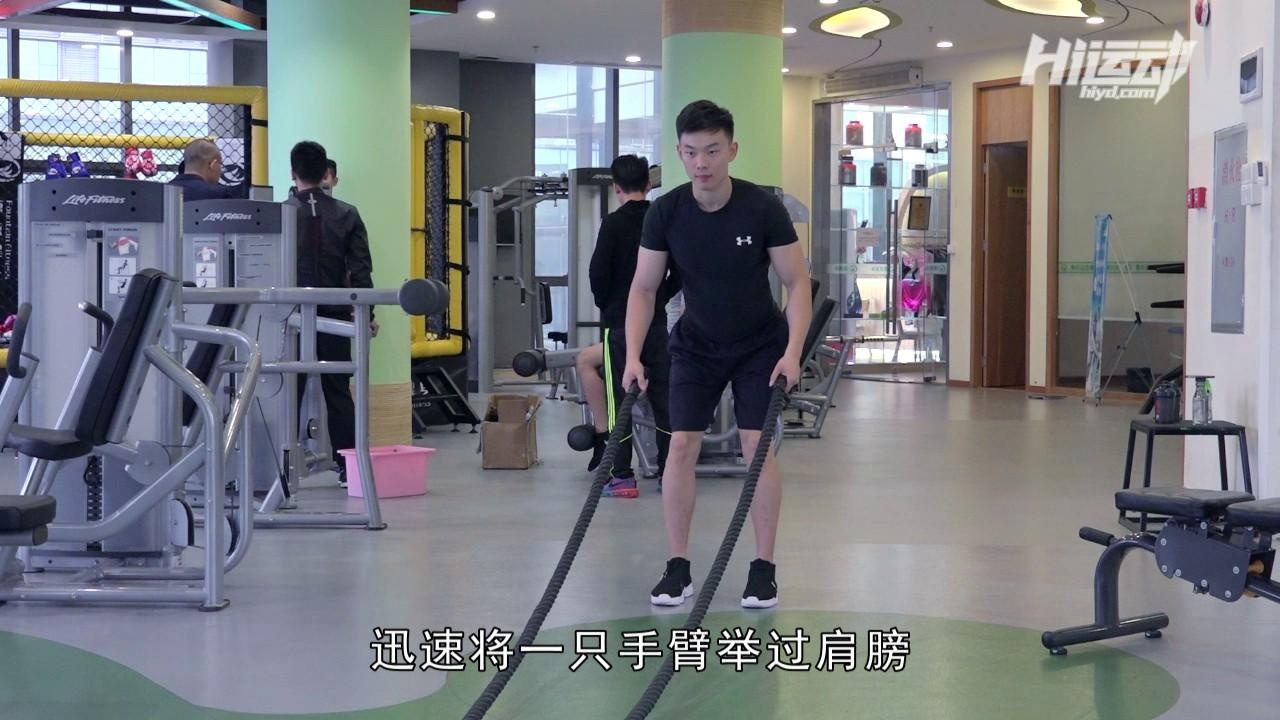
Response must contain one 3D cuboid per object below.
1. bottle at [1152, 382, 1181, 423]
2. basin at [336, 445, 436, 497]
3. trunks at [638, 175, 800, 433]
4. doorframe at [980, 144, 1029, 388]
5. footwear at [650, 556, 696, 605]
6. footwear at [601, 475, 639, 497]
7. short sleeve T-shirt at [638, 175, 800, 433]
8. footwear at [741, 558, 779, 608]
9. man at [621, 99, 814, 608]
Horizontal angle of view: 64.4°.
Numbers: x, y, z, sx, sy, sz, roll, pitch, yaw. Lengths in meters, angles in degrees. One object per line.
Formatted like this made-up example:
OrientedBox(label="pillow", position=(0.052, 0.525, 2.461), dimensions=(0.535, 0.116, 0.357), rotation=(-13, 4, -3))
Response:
OrientedBox(label="bottle", position=(3.275, 0.269, 6.323), dimensions=(0.147, 0.233, 0.281), rotation=(3, 5, 27))
OrientedBox(label="basin", position=(-1.692, 0.766, 6.972), dimensions=(0.516, 0.235, 0.401), rotation=(-2, 1, -24))
OrientedBox(label="trunks", position=(0.410, -0.098, 5.160), dimensions=(0.727, 1.589, 0.512), rotation=(-3, 12, 2))
OrientedBox(label="doorframe", position=(4.873, -1.254, 13.637), dimensions=(0.645, 3.214, 0.210), rotation=(0, 5, -16))
OrientedBox(label="footwear", position=(0.167, 1.118, 5.039), dimensions=(0.122, 0.149, 0.325), rotation=(-2, -6, 15))
OrientedBox(label="footwear", position=(-0.168, 0.872, 6.999), dimensions=(0.336, 0.147, 0.129), rotation=(1, -3, 6))
OrientedBox(label="short sleeve T-shirt", position=(0.421, -0.085, 5.154), dimensions=(0.755, 1.569, 0.504), rotation=(-3, 12, 0))
OrientedBox(label="footwear", position=(0.586, 1.114, 4.999), dimensions=(0.109, 0.130, 0.316), rotation=(0, 1, 14))
OrientedBox(label="man", position=(0.404, -0.028, 5.073), dimensions=(0.956, 2.352, 0.784), rotation=(-2, 2, -4))
